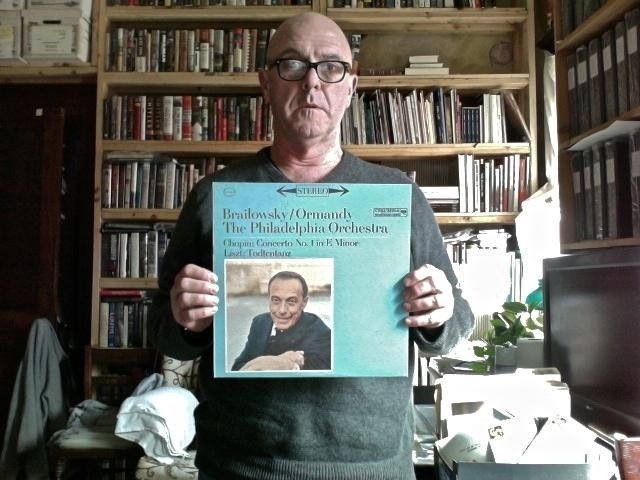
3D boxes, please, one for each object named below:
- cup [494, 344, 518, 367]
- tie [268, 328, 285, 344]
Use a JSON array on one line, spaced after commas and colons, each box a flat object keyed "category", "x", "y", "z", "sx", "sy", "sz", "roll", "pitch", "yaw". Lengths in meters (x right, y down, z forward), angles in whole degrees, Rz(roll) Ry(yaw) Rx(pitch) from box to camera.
[{"category": "cup", "x": 0.798, "y": 0.502, "z": 2.787, "sx": 0.088, "sy": 0.065, "sz": 0.089, "roll": 0, "pitch": -2, "yaw": 0}, {"category": "tie", "x": -0.136, "y": 0.297, "z": 1.988, "sx": 0.052, "sy": 0.066, "sz": 0.037, "roll": 2, "pitch": -16, "yaw": -3}]
